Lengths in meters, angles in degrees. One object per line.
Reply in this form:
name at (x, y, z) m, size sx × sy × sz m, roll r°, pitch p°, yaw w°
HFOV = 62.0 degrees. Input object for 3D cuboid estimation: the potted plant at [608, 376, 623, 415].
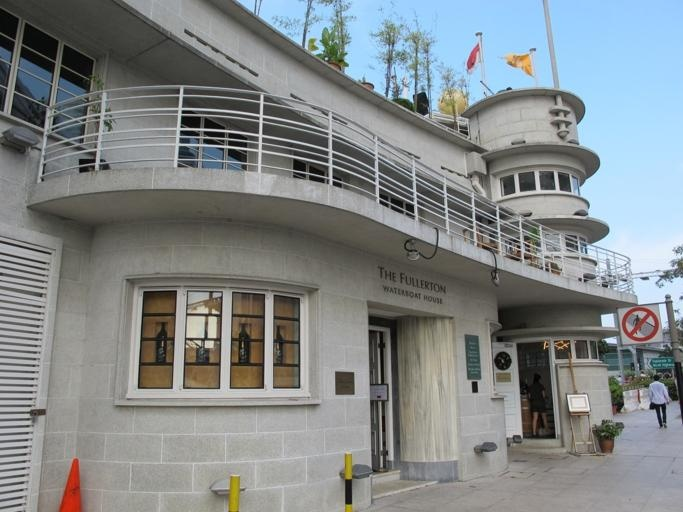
potted plant at (14.583, 7.408, 29.986) m, size 0.541 × 1.549 × 2.521 m, roll -8°, pitch -16°, yaw 25°

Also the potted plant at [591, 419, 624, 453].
potted plant at (8.088, 5.452, 17.344) m, size 0.914 × 0.933 × 0.894 m, roll 2°, pitch -15°, yaw -1°

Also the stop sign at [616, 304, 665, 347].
stop sign at (8.878, 1.996, 16.951) m, size 1.257 × 1.196 × 0.950 m, roll -13°, pitch -18°, yaw 39°

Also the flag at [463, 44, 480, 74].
flag at (5.914, -8.863, 25.544) m, size 0.242 × 1.088 × 0.926 m, roll 4°, pitch -15°, yaw -19°

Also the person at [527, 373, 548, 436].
person at (6.534, 4.940, 18.946) m, size 0.517 × 2.003 × 1.000 m, roll -6°, pitch -15°, yaw 17°

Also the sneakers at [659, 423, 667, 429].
sneakers at (12.583, 6.645, 22.211) m, size 0.133 × 0.166 × 0.386 m, roll -27°, pitch -45°, yaw 36°
